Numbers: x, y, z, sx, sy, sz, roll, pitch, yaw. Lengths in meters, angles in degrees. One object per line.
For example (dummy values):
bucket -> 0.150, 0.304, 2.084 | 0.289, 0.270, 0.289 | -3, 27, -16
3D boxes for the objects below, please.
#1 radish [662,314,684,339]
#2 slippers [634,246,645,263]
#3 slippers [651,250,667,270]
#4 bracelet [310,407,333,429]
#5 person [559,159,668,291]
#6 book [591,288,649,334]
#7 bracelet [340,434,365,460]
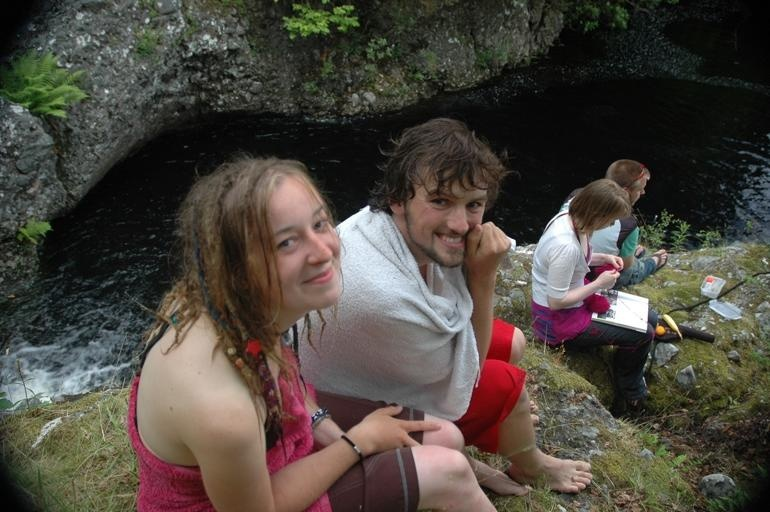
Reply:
radish -> 3.390, 0.796, 6.420 | 0.100, 0.089, 0.377 | -13, 49, -14
slippers -> 3.543, -0.013, 7.536 | 0.143, 0.210, 0.204 | -9, -9, 24
slippers -> 3.828, 0.018, 7.515 | 0.136, 0.194, 0.432 | 5, 28, 21
bracelet -> -0.484, 1.239, 4.113 | 0.126, 0.070, 0.131 | -38, 6, -41
person -> 3.062, -0.288, 7.243 | 0.941, 1.412, 1.439 | 2, 13, 42
book -> 2.657, 0.651, 5.985 | 0.438, 0.107, 0.513 | 12, 27, 10
bracelet -> -0.229, 1.383, 3.914 | 0.044, 0.165, 0.152 | -40, 56, -17
